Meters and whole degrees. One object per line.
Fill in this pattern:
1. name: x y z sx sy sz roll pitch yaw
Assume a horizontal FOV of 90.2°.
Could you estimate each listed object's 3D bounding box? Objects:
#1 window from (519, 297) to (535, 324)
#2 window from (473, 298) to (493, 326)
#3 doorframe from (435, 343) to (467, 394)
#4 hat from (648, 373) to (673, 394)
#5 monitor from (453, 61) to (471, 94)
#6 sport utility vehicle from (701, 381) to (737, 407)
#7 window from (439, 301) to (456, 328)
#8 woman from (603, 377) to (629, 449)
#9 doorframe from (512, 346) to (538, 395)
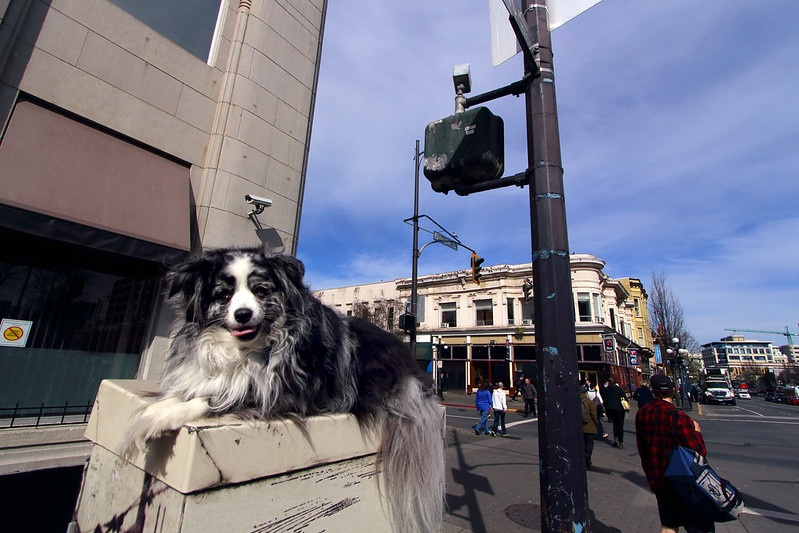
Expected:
1. window: 10.799 3.993 34.165 1.183 2.388 3.221 12 1 18
2. window: 7.358 4.231 35.046 0.197 2.702 1.721 12 -19 -40
3. doorframe: 4.572 9.158 34.804 2.681 4.246 0.217 0 9 16
4. hat: 3.726 1.685 5.667 0.227 0.195 0.335 -3 4 21
5. monitor: 0.699 -2.105 4.447 0.191 0.354 0.206 12 2 3
6. sport utility vehicle: 31.365 12.776 39.598 1.843 1.986 3.890 -10 -38 26
7. window: 4.470 4.651 36.974 1.943 3.204 0.244 -2 -8 23
8. woman: 6.672 4.504 12.251 0.638 1.977 0.542 -11 -25 42
9. doorframe: 10.023 8.230 32.645 2.721 2.799 1.534 -5 -20 44
